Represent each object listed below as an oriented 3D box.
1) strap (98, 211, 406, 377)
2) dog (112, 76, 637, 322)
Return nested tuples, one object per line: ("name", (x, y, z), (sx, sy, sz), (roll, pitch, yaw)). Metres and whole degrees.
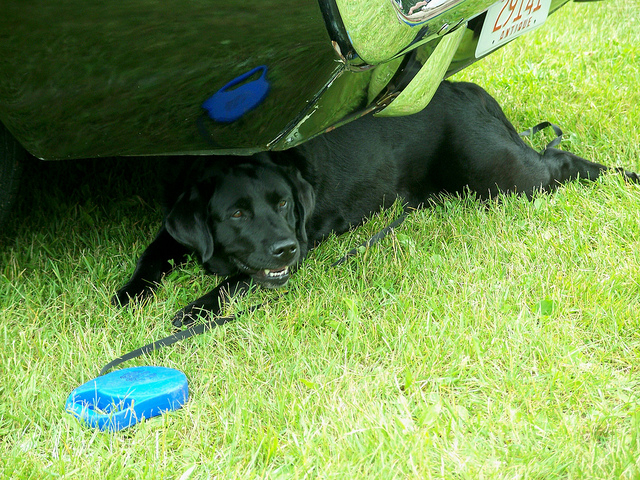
("strap", (-0.296, 0.242, 2.665), (1.084, 0.115, 0.157), (-30, 89, -25))
("dog", (0.438, -0.392, 3.726), (3.261, 1.049, 1.000), (-21, 68, -27))
